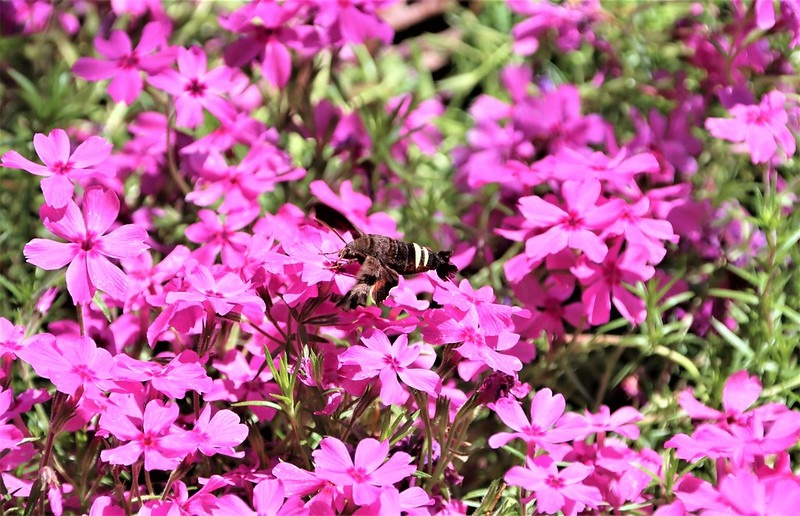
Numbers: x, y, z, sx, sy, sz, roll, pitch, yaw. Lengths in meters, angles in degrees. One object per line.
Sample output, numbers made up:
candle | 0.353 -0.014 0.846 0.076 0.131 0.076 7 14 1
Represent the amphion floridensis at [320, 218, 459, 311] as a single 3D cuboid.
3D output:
amphion floridensis | -0.033 0.006 1.496 0.256 0.106 0.274 -13 -12 22
